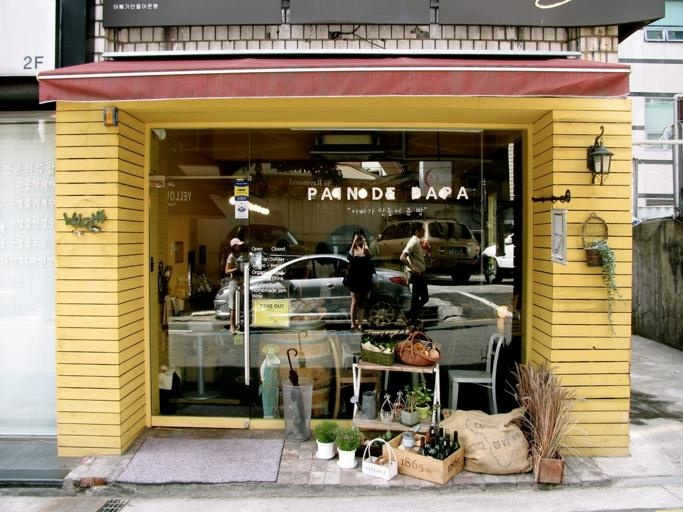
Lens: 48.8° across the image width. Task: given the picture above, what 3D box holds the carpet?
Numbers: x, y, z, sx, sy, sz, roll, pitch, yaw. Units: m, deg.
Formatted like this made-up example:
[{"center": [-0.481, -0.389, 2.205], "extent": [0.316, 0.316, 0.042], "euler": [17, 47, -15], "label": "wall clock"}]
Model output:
[{"center": [-1.628, 2.424, 8.974], "extent": [1.826, 0.274, 0.859], "euler": [-1, 3, -1], "label": "carpet"}]

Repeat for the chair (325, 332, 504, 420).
[{"center": [1.002, 1.586, 9.486], "extent": [2.005, 1.333, 1.112], "euler": [1, 0, 5], "label": "chair"}]

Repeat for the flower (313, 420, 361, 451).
[{"center": [-0.044, 2.129, 8.933], "extent": [0.383, 0.209, 0.357], "euler": [16, -15, -39], "label": "flower"}]

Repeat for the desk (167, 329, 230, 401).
[{"center": [-1.833, 1.398, 9.912], "extent": [1.174, 0.879, 1.123], "euler": [-1, -1, -20], "label": "desk"}]

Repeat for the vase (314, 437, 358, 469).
[{"center": [-0.073, 2.349, 8.919], "extent": [0.382, 0.142, 0.265], "euler": [2, -1, 10], "label": "vase"}]

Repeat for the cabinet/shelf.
[{"center": [0.648, 1.707, 9.233], "extent": [1.129, 0.894, 0.917], "euler": [0, 3, 6], "label": "cabinet/shelf"}]

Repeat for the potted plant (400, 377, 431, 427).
[{"center": [0.887, 1.767, 9.220], "extent": [0.457, 0.592, 0.405], "euler": [2, -2, -38], "label": "potted plant"}]

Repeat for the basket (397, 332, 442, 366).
[{"center": [0.939, 1.148, 9.154], "extent": [0.487, 0.338, 0.384], "euler": [2, 1, 28], "label": "basket"}]

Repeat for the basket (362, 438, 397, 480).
[{"center": [0.463, 2.374, 8.827], "extent": [0.499, 0.541, 0.316], "euler": [-3, -4, 32], "label": "basket"}]

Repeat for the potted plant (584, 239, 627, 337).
[{"center": [3.144, 0.363, 8.989], "extent": [0.432, 1.106, 0.188], "euler": [-1, 2, -17], "label": "potted plant"}]

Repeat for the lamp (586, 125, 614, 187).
[{"center": [3.101, -1.203, 8.946], "extent": [0.311, 0.704, 0.253], "euler": [-1, 2, 0], "label": "lamp"}]

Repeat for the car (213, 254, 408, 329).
[{"center": [-0.326, 0.395, 10.116], "extent": [2.343, 0.807, 1.027], "euler": [1, -1, 0], "label": "car"}]

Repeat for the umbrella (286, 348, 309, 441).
[{"center": [-0.566, 1.742, 9.569], "extent": [0.251, 1.065, 0.527], "euler": [-1, 2, -5], "label": "umbrella"}]
